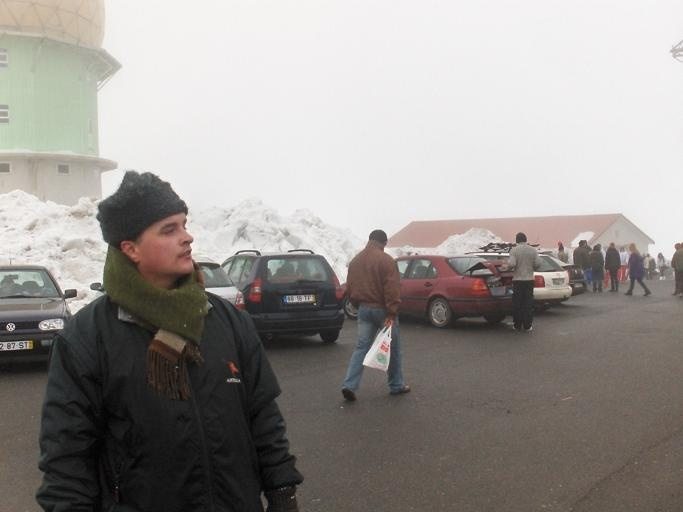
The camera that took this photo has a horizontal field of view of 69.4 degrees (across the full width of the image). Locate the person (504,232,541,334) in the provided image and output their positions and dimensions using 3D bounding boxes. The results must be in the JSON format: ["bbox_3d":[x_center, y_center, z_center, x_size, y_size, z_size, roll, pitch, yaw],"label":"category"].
[{"bbox_3d":[4.549,0.603,12.261,0.697,2.457,1.094,-1,0,23],"label":"person"}]

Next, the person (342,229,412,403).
[{"bbox_3d":[0.467,0.776,6.930,0.910,2.173,1.102,-1,0,14],"label":"person"}]

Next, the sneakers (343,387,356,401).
[{"bbox_3d":[0.102,1.848,6.648,0.172,0.154,0.199,-1,0,-1],"label":"sneakers"}]

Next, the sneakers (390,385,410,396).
[{"bbox_3d":[0.832,1.854,6.901,0.312,0.129,0.248,-2,0,-1],"label":"sneakers"}]

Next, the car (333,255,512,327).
[{"bbox_3d":[2.486,0.730,13.756,1.946,1.706,4.375,-2,4,-45],"label":"car"}]

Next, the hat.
[{"bbox_3d":[-0.816,-0.165,2.023,0.257,0.219,0.210,-25,11,-16],"label":"hat"}]

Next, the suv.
[{"bbox_3d":[-1.033,0.826,10.285,1.398,1.399,2.733,-1,2,-21],"label":"suv"}]

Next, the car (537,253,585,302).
[{"bbox_3d":[7.762,0.720,18.130,1.139,1.014,2.661,-3,6,-20],"label":"car"}]
